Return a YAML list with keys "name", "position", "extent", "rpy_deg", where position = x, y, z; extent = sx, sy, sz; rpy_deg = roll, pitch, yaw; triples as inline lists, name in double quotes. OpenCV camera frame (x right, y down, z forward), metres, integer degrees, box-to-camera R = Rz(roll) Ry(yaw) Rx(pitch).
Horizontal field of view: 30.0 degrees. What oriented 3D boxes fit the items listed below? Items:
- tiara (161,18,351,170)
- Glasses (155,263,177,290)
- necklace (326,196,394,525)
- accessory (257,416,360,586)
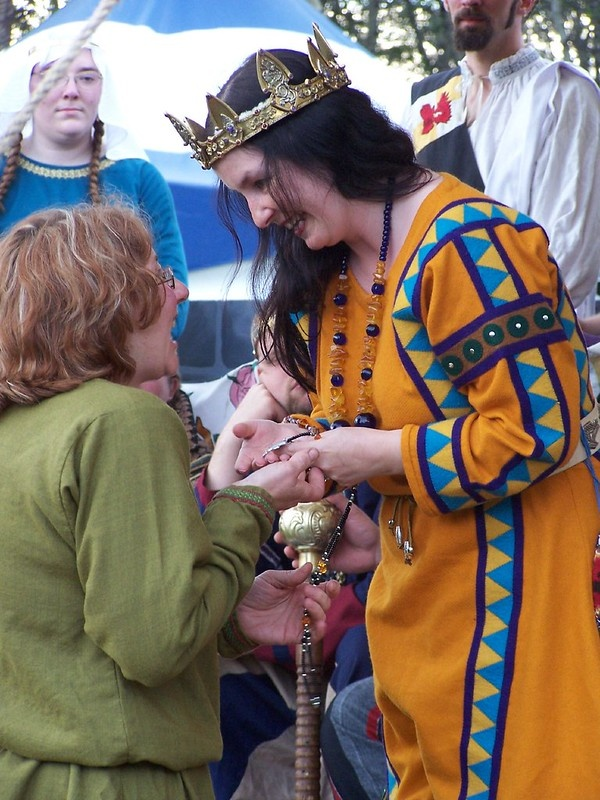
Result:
- name: "tiara"
  position: [-0.053, -0.507, 1.950]
  extent: [0.293, 0.088, 0.237]
  rpy_deg: [-28, 8, 9]
- name: "Glasses"
  position: [-0.220, -0.202, 1.850]
  extent: [0.047, 0.041, 0.014]
  rpy_deg: [-1, 6, -43]
- name: "necklace"
  position: [0.100, -0.085, 1.999]
  extent: [0.100, 0.402, 0.049]
  rpy_deg: [1, 1, -8]
- name: "accessory"
  position: [0.035, 0.247, 2.246]
  extent: [0.164, 0.231, 0.146]
  rpy_deg: [4, -12, -23]
